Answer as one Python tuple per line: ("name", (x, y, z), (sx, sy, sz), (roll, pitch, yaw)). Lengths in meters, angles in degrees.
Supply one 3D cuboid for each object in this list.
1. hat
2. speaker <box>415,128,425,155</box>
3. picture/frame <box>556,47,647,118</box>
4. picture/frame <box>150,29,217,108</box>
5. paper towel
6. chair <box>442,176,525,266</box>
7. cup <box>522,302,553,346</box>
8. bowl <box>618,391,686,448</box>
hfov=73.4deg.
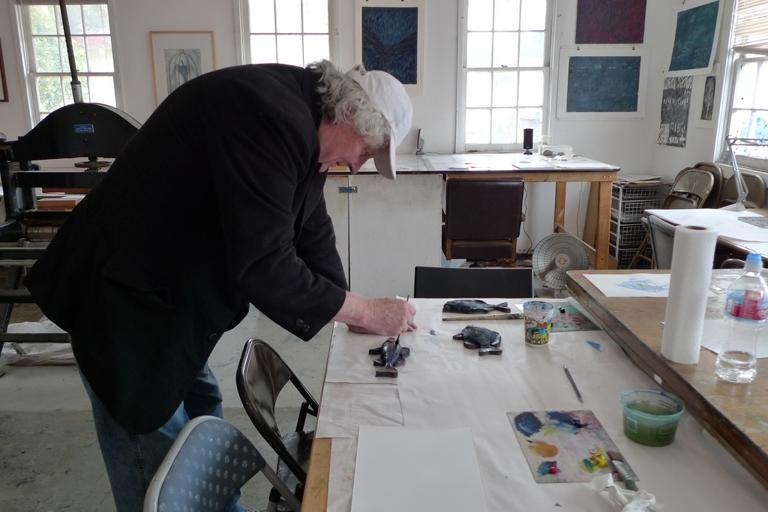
("hat", (0.003, -0.495, 1.778), (0.186, 0.373, 0.233), (-25, 14, -1))
("speaker", (0.361, -1.226, 5.438), (0.080, 0.248, 0.237), (3, 15, 7))
("picture/frame", (2.274, -1.853, 5.355), (0.648, 0.521, 0.026), (0, 7, 0))
("picture/frame", (-2.124, -1.958, 5.383), (0.531, 0.689, 0.031), (0, -5, -14))
("paper towel", (0.944, 0.127, 1.613), (0.109, 0.434, 0.059), (8, 19, 29))
("chair", (0.725, -0.340, 4.408), (0.693, 1.064, 0.600), (1, 29, 4))
("cup", (0.585, 0.259, 1.984), (0.126, 0.145, 0.132), (0, 8, 0))
("bowl", (0.797, 0.484, 1.542), (0.164, 0.108, 0.164), (-5, 14, 1))
